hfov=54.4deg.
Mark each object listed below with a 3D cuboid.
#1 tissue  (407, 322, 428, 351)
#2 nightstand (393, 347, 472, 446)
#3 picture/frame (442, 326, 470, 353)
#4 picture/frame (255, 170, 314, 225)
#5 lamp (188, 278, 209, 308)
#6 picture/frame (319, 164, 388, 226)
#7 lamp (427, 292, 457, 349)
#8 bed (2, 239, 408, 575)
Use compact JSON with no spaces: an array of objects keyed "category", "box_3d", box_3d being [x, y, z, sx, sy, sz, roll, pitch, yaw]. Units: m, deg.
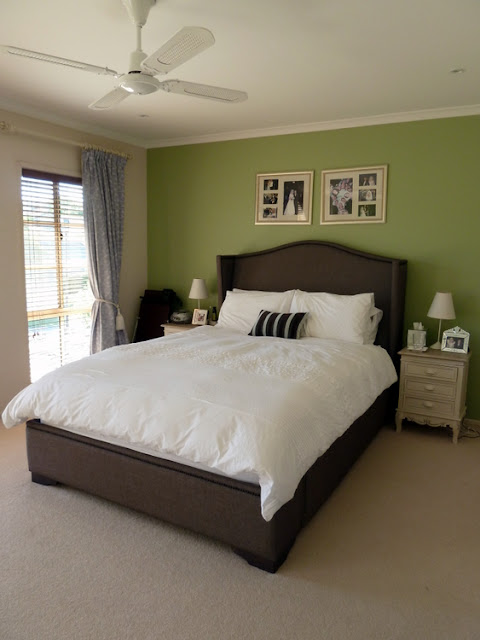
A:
[{"category":"tissue ","box_3d":[1.363,0.114,3.589,0.167,0.227,0.187,4,10,29]},{"category":"nightstand","box_3d":[1.462,0.455,3.596,0.570,0.709,0.577,-5,28,4]},{"category":"picture/frame","box_3d":[1.631,0.152,3.517,0.175,0.228,0.016,2,-1,41]},{"category":"picture/frame","box_3d":[0.428,-1.141,4.284,0.456,0.412,0.021,9,15,34]},{"category":"lamp","box_3d":[-0.417,-0.282,4.707,0.186,0.400,0.193,13,22,40]},{"category":"picture/frame","box_3d":[0.983,-1.071,3.943,0.495,0.451,0.023,5,10,35]},{"category":"lamp","box_3d":[1.548,0.007,3.584,0.193,0.444,0.344,4,7,25]},{"category":"bed","box_3d":[0.058,0.159,3.201,1.608,1.636,2.418,5,7,31]}]
